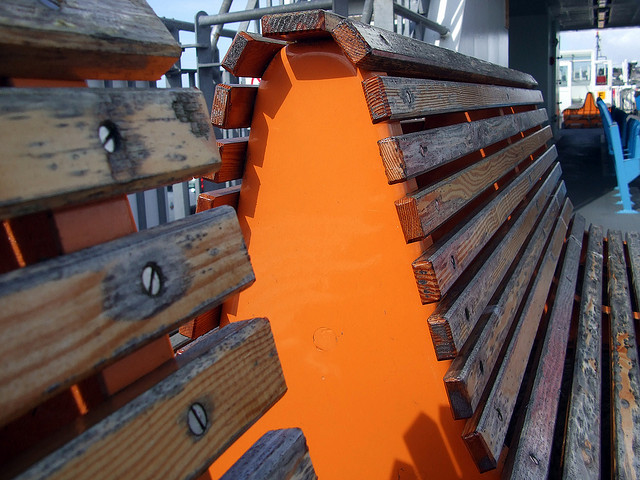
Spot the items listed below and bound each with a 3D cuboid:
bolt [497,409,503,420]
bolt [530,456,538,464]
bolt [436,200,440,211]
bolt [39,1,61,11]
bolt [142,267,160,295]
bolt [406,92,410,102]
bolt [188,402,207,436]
[{"bbox_3d":[0.489,0.478,1.102,0.018,0.030,0.007,-28,11,-39],"label":"bolt"},{"bbox_3d":[0.602,0.619,1.135,0.031,0.019,0.010,17,-20,-38],"label":"bolt"},{"bbox_3d":[0.355,-0.105,1.220,0.002,0.031,0.021,-10,-20,41],"label":"bolt"},{"bbox_3d":[-0.374,-0.326,0.561,0.018,0.011,0.004,10,1,25],"label":"bolt"},{"bbox_3d":[-0.243,0.059,0.580,0.004,0.035,0.025,-5,9,39],"label":"bolt"},{"bbox_3d":[0.266,-0.435,1.227,0.007,0.037,0.008,-1,-7,-25],"label":"bolt"},{"bbox_3d":[-0.182,0.264,0.592,0.006,0.053,0.043,-15,-17,28],"label":"bolt"}]
